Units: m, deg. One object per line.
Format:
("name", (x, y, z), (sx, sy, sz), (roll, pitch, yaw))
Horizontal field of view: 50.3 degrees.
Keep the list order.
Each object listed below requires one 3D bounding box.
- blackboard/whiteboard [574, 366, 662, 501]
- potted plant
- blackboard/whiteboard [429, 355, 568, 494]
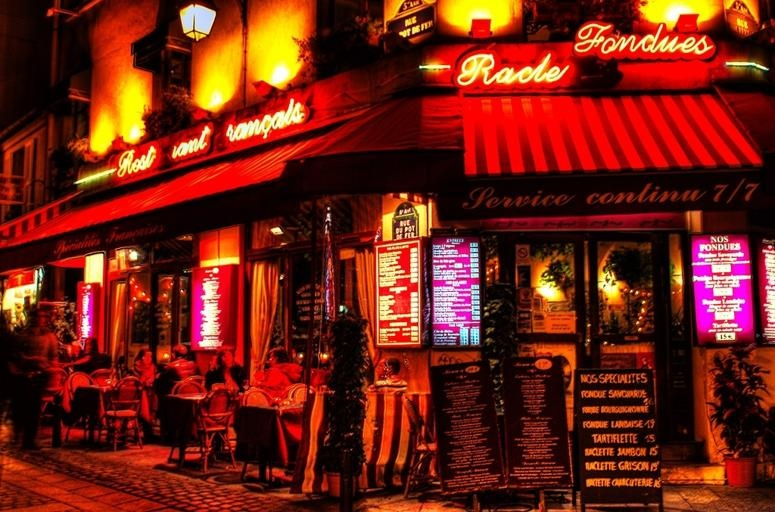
("blackboard/whiteboard", (3.232, 2.540, 11.577), (1.098, 1.865, 0.353), (-3, -15, 9))
("potted plant", (5.649, 2.527, 13.136), (0.924, 2.184, 1.068), (-8, -17, 24))
("blackboard/whiteboard", (1.620, 2.391, 11.720), (2.099, 1.902, 0.102), (-3, -7, 7))
